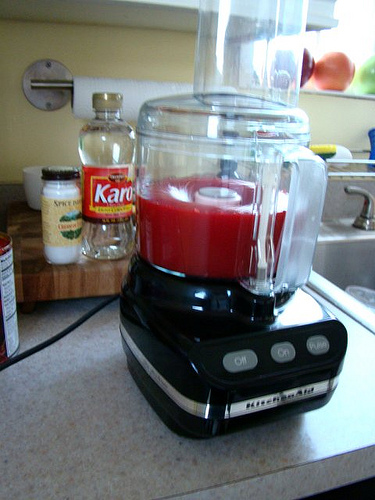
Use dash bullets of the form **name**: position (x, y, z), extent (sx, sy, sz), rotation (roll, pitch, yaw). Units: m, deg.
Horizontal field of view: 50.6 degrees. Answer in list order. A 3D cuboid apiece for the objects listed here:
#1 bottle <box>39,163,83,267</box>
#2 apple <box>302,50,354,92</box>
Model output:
- **bottle**: position (-0.177, -0.044, 0.557), extent (0.055, 0.140, 0.039), rotation (-6, 20, -23)
- **apple**: position (0.349, -0.473, 1.037), extent (0.215, 0.097, 0.091), rotation (-17, 28, -41)
